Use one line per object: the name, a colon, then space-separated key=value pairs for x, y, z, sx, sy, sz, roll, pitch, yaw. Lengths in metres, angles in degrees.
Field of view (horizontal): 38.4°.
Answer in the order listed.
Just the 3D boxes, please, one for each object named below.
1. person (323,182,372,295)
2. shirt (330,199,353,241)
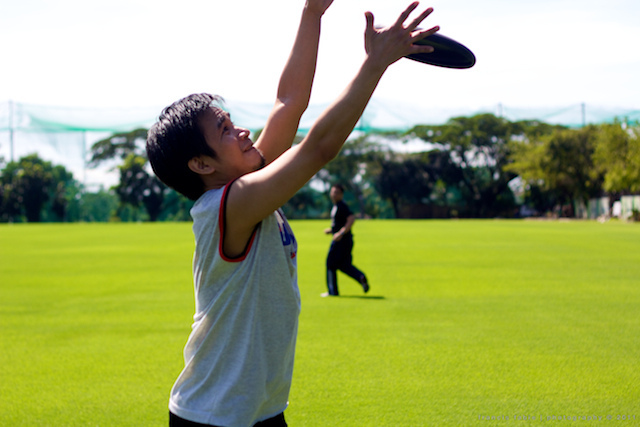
person: x=0.794 y=0.461 z=23.421 sx=1.133 sy=0.838 sz=2.407 roll=2 pitch=31 yaw=-1
shirt: x=0.360 y=0.145 z=15.169 sx=0.330 sy=0.618 sz=0.931 roll=-2 pitch=11 yaw=2
